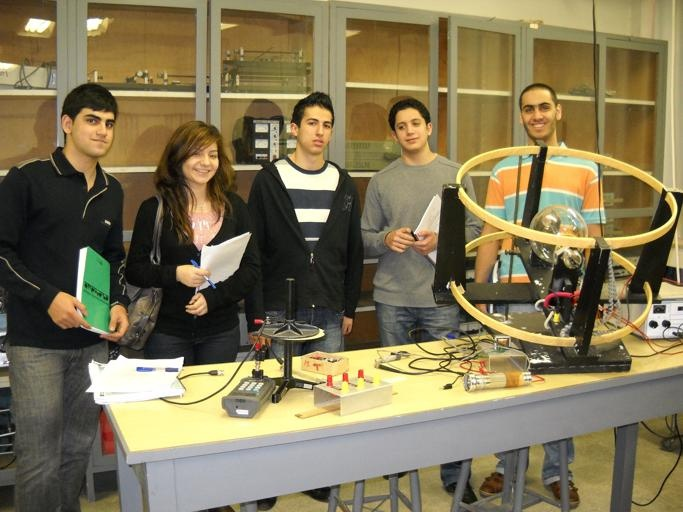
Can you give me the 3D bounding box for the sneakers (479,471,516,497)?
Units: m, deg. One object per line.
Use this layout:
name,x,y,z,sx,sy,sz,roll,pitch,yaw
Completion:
sneakers,0.818,1.196,3.074,0.097,0.105,0.249,4,7,44
